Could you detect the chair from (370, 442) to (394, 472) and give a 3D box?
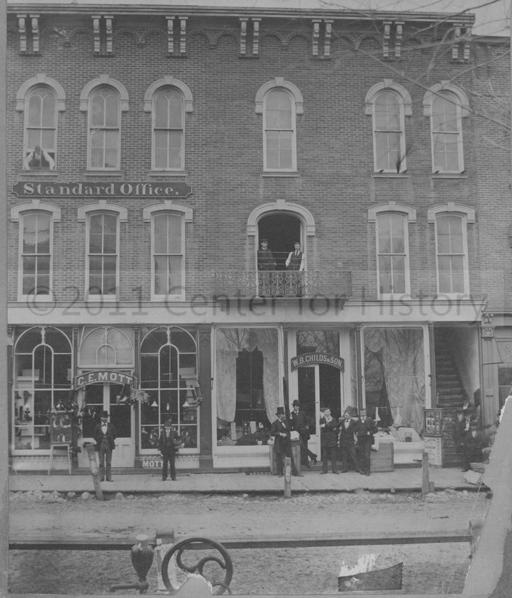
[{"bbox_3d":[0.795,0.997,9.484,0.177,0.175,0.122,-2,-3,-43],"label":"chair"}]

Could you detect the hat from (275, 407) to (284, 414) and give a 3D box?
[{"bbox_3d":[0.151,0.697,9.288,0.039,0.041,0.043,4,-9,-14],"label":"hat"}]

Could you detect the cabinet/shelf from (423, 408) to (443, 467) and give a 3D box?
[{"bbox_3d":[1.129,0.876,9.483,0.128,0.364,0.088,0,-6,-24],"label":"cabinet/shelf"}]
